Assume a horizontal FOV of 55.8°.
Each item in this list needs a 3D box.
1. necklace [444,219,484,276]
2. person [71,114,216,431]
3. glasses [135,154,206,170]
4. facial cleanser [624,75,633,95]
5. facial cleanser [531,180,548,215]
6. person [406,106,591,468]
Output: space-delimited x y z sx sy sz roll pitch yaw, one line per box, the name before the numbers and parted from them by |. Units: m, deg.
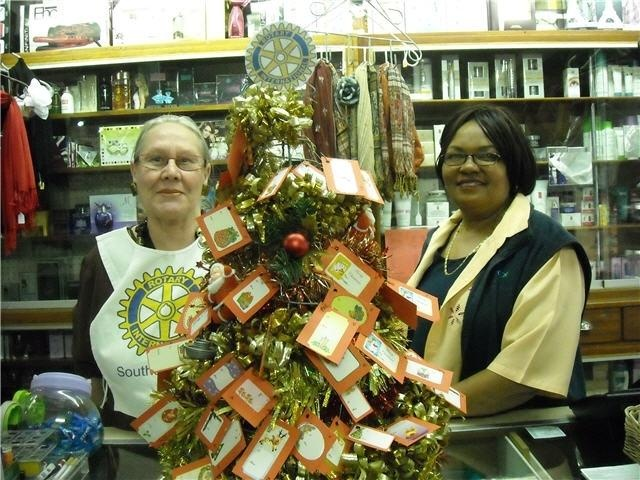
necklace | 0.563 0.035 2.437 0.115 0.212 0.042 23 -15 21
person | -0.630 0.078 2.226 0.437 0.889 0.532 -5 3 -37
glasses | -0.522 -0.263 2.124 0.214 0.043 0.053 -4 3 -14
facial cleanser | 2.092 -1.046 4.093 0.068 0.145 0.020 -4 2 -19
facial cleanser | 1.490 -0.271 4.111 0.146 0.269 0.078 -1 5 -10
person | 0.625 0.046 2.235 0.667 1.104 0.535 -2 3 29
